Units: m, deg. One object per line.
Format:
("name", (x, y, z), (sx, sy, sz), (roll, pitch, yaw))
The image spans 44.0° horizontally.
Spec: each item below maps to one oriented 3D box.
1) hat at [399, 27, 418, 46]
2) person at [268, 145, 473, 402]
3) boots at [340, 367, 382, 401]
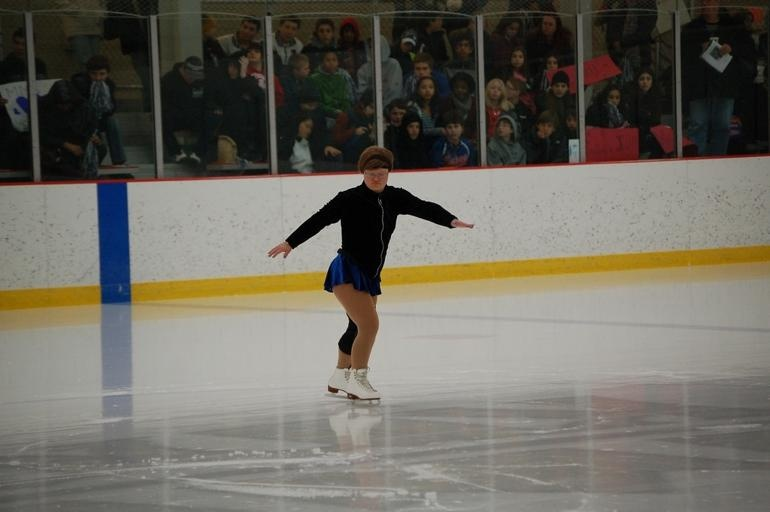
("hat", (0.308, -2.899, 12.692), (0.226, 0.203, 0.348), (14, 14, -12))
("person", (-0.169, 0.137, 7.834), (1.272, 2.043, 0.599), (-3, -11, 9))
("boots", (-0.183, 1.050, 7.864), (0.158, 0.219, 0.448), (-8, 3, -29))
